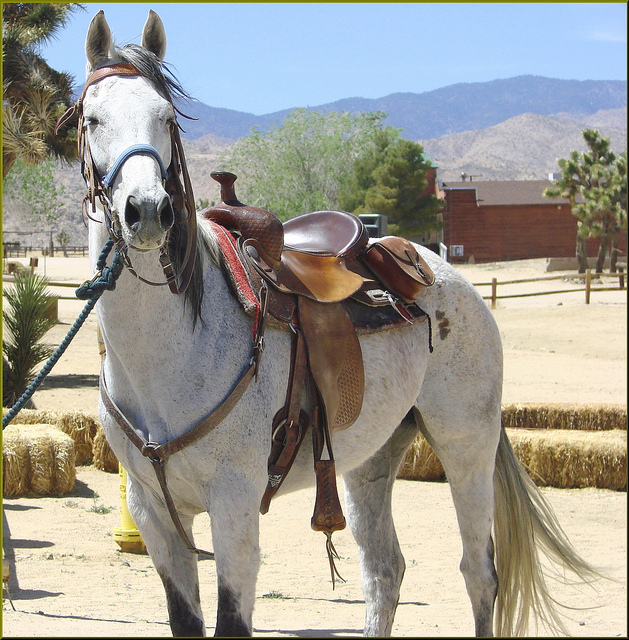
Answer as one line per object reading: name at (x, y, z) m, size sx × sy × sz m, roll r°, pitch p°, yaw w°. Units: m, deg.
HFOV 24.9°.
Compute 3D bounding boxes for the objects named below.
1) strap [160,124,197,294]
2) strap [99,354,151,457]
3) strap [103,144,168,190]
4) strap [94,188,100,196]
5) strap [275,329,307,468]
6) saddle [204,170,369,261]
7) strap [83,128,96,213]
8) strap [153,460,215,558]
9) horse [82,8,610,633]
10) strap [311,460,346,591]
strap at (-0.842, -0.684, 8.978) m, size 0.173 × 1.069 × 0.351 m, roll 3°, pitch 9°, yaw 23°
strap at (-1.115, 0.551, 9.173) m, size 0.097 × 0.591 × 0.391 m, roll -29°, pitch -18°, yaw -7°
strap at (-1.090, -0.914, 8.826) m, size 0.364 × 0.125 × 0.373 m, roll 28°, pitch 11°, yaw 37°
strap at (-1.337, -0.784, 8.824) m, size 0.009 × 0.040 × 0.027 m, roll -17°, pitch 22°, yaw -41°
strap at (-0.140, 0.519, 9.267) m, size 0.099 × 0.854 × 0.300 m, roll 3°, pitch 9°, yaw 22°
saddle at (-0.162, -0.608, 9.835) m, size 0.914 × 0.557 × 0.656 m, roll -6°, pitch 32°, yaw -19°
strap at (-1.383, -0.928, 8.876) m, size 0.046 × 0.653 × 0.065 m, roll 1°, pitch 4°, yaw 38°
strap at (-0.881, 1.234, 9.118) m, size 0.101 × 0.667 × 0.358 m, roll -21°, pitch 7°, yaw 4°
horse at (-0.036, 0.141, 9.575) m, size 2.930 × 4.331 × 0.985 m, roll -6°, pitch 9°, yaw -30°
strap at (0.114, 1.375, 9.460) m, size 0.251 × 0.983 × 0.094 m, roll 0°, pitch 16°, yaw 13°
